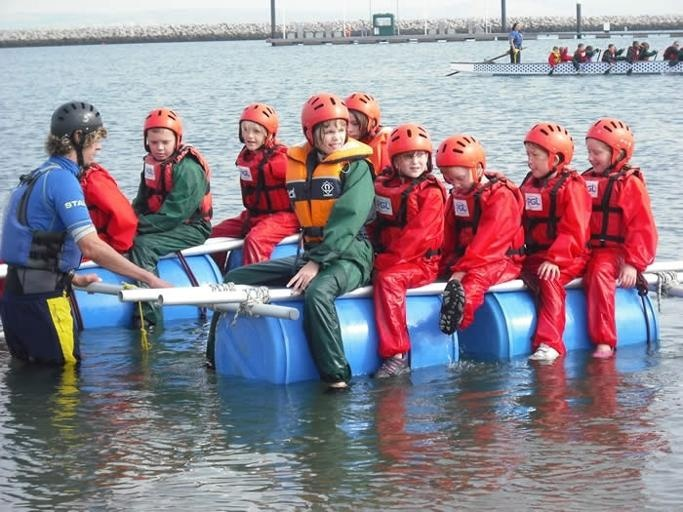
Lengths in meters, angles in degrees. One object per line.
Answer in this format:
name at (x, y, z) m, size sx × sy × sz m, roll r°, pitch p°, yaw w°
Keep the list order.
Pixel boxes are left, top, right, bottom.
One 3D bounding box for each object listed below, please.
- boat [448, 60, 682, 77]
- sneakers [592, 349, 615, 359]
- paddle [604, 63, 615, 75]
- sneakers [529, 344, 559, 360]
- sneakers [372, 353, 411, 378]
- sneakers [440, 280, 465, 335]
boat at (6.973, -5.693, 41.015) m, size 8.261 × 0.413 × 1.239 m, roll 4°, pitch 8°, yaw 26°
sneakers at (2.372, 0.898, 12.290) m, size 0.195 × 0.095 × 0.095 m, roll 5°, pitch 38°, yaw -17°
paddle at (7.890, -5.549, 39.828) m, size 0.300 × 0.332 × 0.249 m, roll 2°, pitch 29°, yaw -25°
sneakers at (1.847, 0.880, 12.216) m, size 0.284 × 0.082 × 0.117 m, roll 3°, pitch -12°, yaw -29°
sneakers at (0.456, 0.965, 11.789) m, size 0.367 × 0.111 × 0.145 m, roll -6°, pitch 9°, yaw -19°
sneakers at (0.963, 0.454, 11.816) m, size 0.242 × 0.510 × 0.246 m, roll -4°, pitch 10°, yaw 4°
